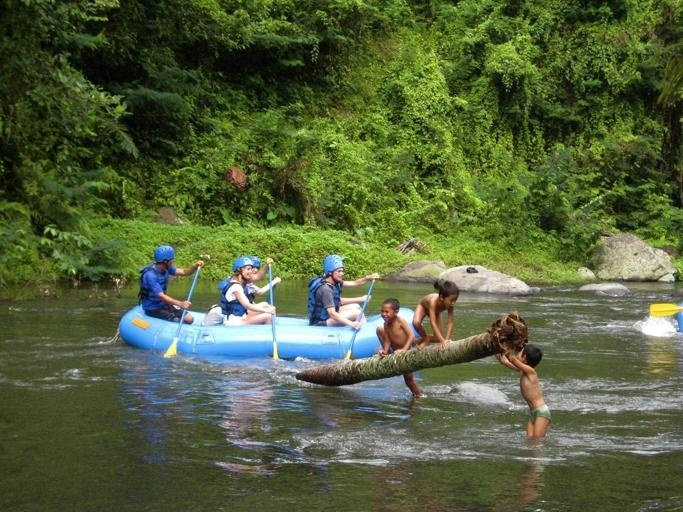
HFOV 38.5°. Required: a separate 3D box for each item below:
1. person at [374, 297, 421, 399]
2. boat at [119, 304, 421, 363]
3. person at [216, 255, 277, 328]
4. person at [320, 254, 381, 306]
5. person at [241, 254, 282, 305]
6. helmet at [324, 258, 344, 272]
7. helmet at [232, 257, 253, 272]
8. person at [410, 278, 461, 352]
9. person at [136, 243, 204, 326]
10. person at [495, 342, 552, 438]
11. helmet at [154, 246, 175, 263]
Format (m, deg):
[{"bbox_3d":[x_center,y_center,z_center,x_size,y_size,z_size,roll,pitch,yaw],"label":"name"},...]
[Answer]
[{"bbox_3d":[0.821,1.297,13.807,0.683,1.433,1.156,3,14,3],"label":"person"},{"bbox_3d":[-1.505,1.321,15.619,3.423,0.687,1.632,2,-4,6],"label":"boat"},{"bbox_3d":[-1.660,0.651,17.011,0.733,1.187,0.648,-15,39,-21],"label":"person"},{"bbox_3d":[0.144,0.442,15.520,0.959,0.917,0.629,-1,15,-3],"label":"person"},{"bbox_3d":[-1.494,0.459,18.175,0.693,0.420,0.962,-10,-26,-14],"label":"person"},{"bbox_3d":[-0.106,0.136,15.453,0.243,0.215,0.224,1,-4,37],"label":"helmet"},{"bbox_3d":[-1.604,0.119,15.877,0.263,0.268,0.461,-2,14,-17],"label":"helmet"},{"bbox_3d":[1.283,0.823,13.597,0.562,1.022,0.739,4,14,3],"label":"person"},{"bbox_3d":[-2.808,0.577,16.200,1.121,1.479,0.839,6,14,-4],"label":"person"},{"bbox_3d":[2.399,1.754,12.720,0.748,1.230,0.430,4,15,4],"label":"person"},{"bbox_3d":[-2.963,-0.046,16.075,0.404,0.314,0.301,9,2,-4],"label":"helmet"}]
